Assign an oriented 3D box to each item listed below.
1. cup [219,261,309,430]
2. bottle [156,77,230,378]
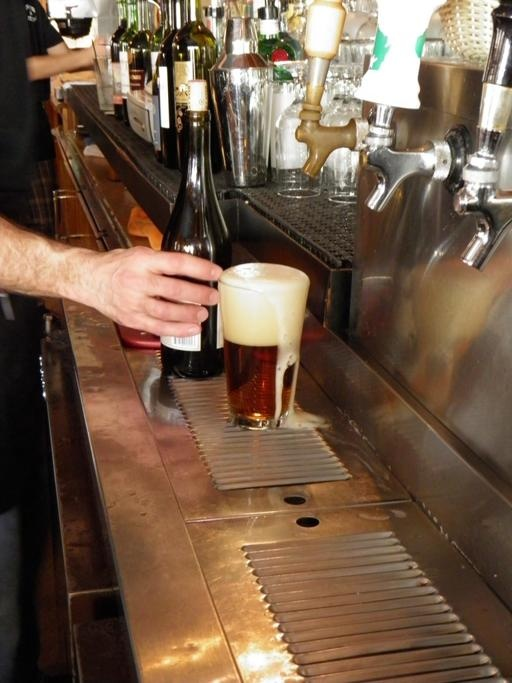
[{"bbox_3d":[0.001,0.013,0.592,0.093,0.183,0.075,7,12,3],"label":"cup"},{"bbox_3d":[-0.078,-0.135,0.738,0.097,0.367,0.245,4,12,-11],"label":"bottle"}]
